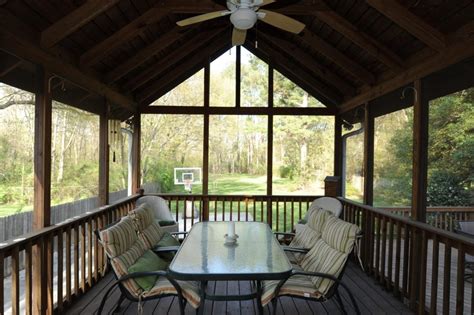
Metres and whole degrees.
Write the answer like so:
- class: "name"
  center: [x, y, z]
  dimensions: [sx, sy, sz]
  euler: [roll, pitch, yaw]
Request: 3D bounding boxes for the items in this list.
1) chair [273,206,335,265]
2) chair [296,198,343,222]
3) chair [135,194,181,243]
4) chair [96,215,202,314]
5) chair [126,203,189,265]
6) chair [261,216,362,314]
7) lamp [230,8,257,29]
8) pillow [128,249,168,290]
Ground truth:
- class: "chair"
  center: [0.948, 1.223, 5.814]
  dimensions: [0.995, 0.970, 0.764]
  euler: [13, 5, -17]
- class: "chair"
  center: [1.709, 1.100, 7.264]
  dimensions: [0.495, 0.476, 0.420]
  euler: [8, 10, 28]
- class: "chair"
  center: [-1.596, 1.174, 6.970]
  dimensions: [0.731, 0.805, 0.609]
  euler: [6, 8, 41]
- class: "chair"
  center: [-1.256, 1.650, 5.466]
  dimensions: [1.430, 1.512, 1.304]
  euler: [1, 1, 0]
- class: "chair"
  center: [-1.257, 1.296, 5.943]
  dimensions: [0.817, 0.995, 0.968]
  euler: [-3, 2, -2]
- class: "chair"
  center: [1.000, 1.558, 5.482]
  dimensions: [1.434, 1.379, 1.199]
  euler: [1, -7, 1]
- class: "lamp"
  center: [0.097, -1.910, 4.844]
  dimensions: [0.340, 0.210, 0.244]
  euler: [-3, -3, 25]
- class: "pillow"
  center: [-1.296, 1.579, 5.027]
  dimensions: [0.302, 0.285, 0.757]
  euler: [6, 14, 1]
